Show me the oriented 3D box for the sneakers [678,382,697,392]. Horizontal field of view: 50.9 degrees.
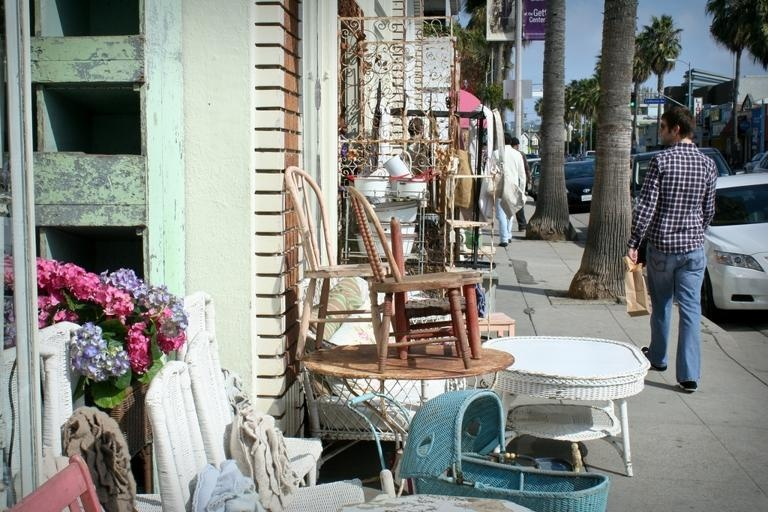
[{"bbox_3d":[2.682,1.147,7.112,0.063,0.083,0.182,0,-15,-3],"label":"sneakers"}]
